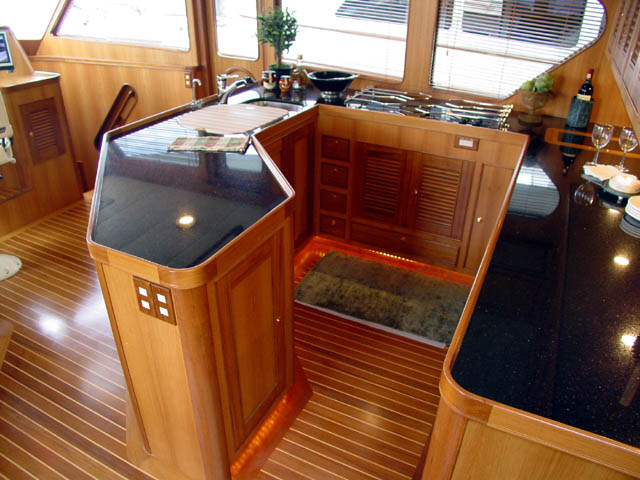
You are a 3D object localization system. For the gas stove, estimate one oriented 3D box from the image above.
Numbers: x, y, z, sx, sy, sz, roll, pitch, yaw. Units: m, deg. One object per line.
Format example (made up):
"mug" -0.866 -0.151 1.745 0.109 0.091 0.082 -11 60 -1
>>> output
"gas stove" 0.813 -1.001 3.536 1.390 0.112 0.486 13 49 13

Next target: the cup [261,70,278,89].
"cup" -0.409 -1.314 3.773 0.139 0.139 0.142 0 57 0

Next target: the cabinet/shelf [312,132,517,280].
"cabinet/shelf" 0.781 -0.463 3.842 1.711 1.072 0.979 13 42 16

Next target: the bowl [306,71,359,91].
"bowl" 0.092 -1.286 3.757 0.355 0.127 0.535 4 30 1

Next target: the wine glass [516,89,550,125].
"wine glass" 1.521 -0.981 3.453 0.249 0.261 0.246 2 47 11

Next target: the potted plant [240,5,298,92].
"potted plant" -0.358 -1.594 3.890 0.318 0.577 0.739 0 30 -6

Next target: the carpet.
"carpet" 0.439 0.386 3.505 1.188 0.078 0.726 15 32 19
